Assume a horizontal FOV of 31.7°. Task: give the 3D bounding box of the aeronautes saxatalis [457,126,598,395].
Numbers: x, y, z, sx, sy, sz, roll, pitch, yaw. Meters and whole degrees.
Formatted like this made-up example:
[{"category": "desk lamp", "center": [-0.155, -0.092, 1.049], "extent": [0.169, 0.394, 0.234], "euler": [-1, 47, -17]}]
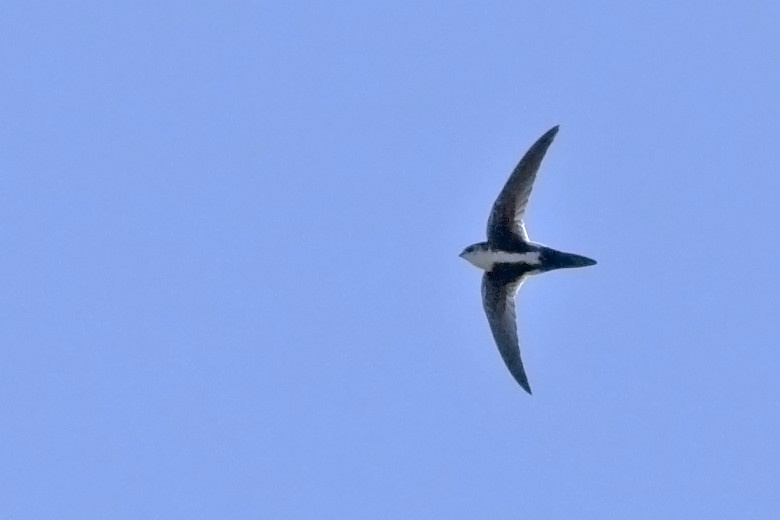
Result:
[{"category": "aeronautes saxatalis", "center": [3.759, -0.016, 42.713], "extent": [6.448, 1.238, 11.106], "euler": [6, -64, 14]}]
